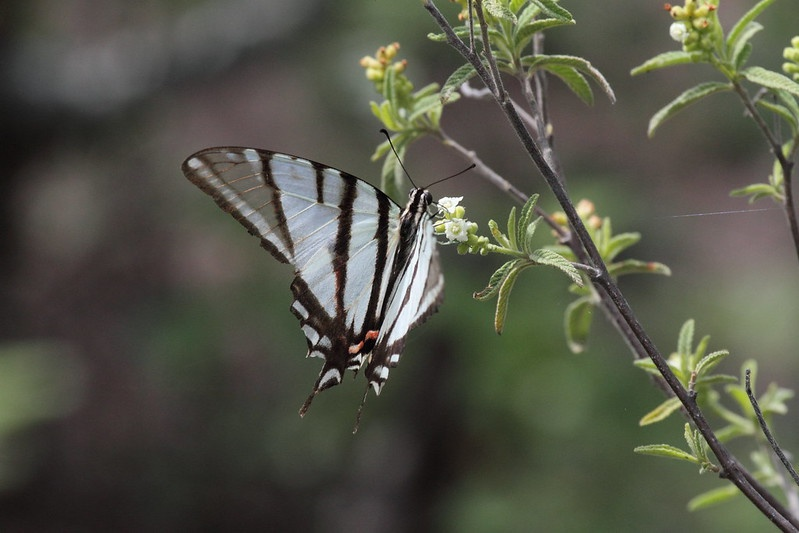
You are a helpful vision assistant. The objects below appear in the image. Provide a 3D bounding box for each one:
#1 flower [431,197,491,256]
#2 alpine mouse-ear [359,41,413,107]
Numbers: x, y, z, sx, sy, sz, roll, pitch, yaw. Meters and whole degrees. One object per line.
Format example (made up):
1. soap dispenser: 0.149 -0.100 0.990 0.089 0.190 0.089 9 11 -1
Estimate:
1. flower: 0.372 -0.240 4.859 0.282 0.390 0.282 -5 12 -28
2. alpine mouse-ear: -0.086 -1.230 5.358 0.287 0.429 0.207 -8 -6 -1
